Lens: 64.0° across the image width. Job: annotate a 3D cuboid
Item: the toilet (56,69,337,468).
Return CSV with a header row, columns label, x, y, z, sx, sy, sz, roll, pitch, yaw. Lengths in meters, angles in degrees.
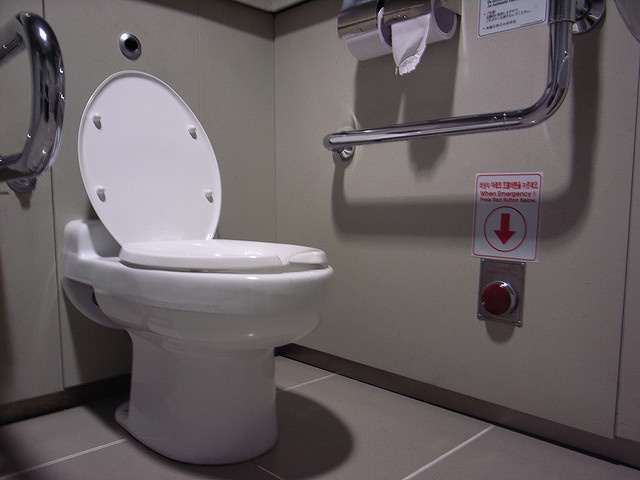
label,x,y,z,sx,sy,sz,roll,pitch,yaw
toilet,-0.332,0.033,1.424,0.781,1.052,0.510,6,7,40
